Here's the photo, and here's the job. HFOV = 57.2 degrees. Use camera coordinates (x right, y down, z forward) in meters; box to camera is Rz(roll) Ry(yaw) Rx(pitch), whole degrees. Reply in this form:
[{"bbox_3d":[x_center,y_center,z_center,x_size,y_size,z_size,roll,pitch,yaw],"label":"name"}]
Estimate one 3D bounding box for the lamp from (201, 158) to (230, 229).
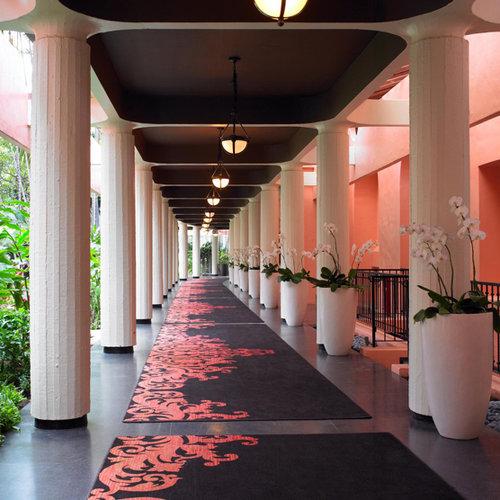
[{"bbox_3d":[-1.114,-1.752,14.509,0.657,2.644,0.698,8,9,-20],"label":"lamp"}]
